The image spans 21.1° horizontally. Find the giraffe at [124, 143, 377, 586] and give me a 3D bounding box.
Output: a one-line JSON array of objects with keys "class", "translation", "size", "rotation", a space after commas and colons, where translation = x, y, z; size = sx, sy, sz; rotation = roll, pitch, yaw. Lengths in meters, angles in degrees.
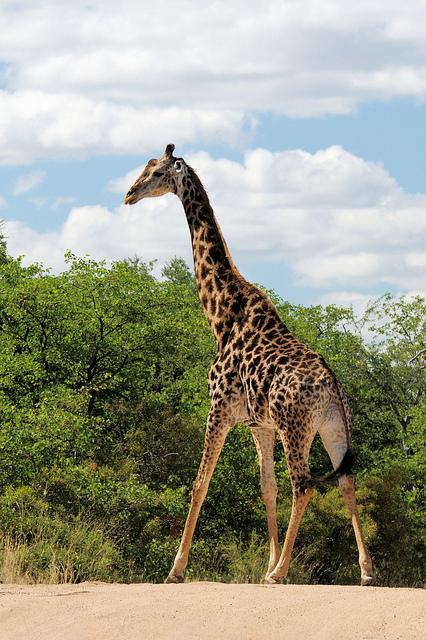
[{"class": "giraffe", "translation": [0.487, 0.465, 14.891], "size": [1.548, 5.615, 3.075], "rotation": [2, -3, -33]}]
